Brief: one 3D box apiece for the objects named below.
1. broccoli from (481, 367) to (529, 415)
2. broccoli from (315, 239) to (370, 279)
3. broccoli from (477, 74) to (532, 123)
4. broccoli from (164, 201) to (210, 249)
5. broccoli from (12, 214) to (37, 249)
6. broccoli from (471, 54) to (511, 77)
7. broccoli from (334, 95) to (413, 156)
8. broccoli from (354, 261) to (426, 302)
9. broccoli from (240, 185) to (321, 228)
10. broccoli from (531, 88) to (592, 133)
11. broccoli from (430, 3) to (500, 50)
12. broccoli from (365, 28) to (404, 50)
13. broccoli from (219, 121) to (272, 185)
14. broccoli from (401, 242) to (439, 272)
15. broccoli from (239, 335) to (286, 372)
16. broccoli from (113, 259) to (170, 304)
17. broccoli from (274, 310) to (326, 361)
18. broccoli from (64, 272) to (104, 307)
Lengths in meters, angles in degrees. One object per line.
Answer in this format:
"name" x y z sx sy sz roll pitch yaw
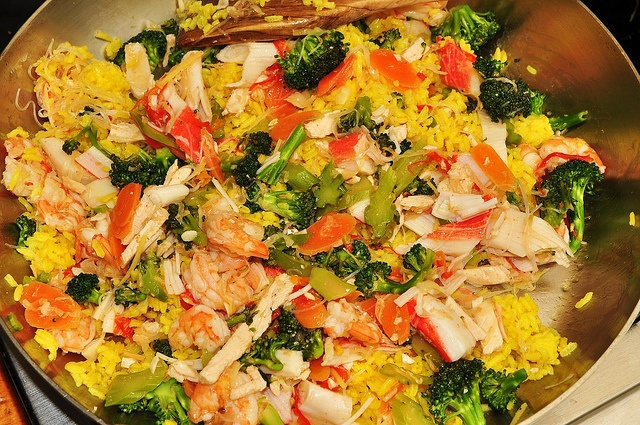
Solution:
"broccoli" 1.320 1.287 4.077 0.358 0.121 0.275 -25 99 -21
"broccoli" 0.175 0.357 4.100 0.328 0.117 0.283 4 91 -10
"broccoli" 1.443 -0.892 4.276 0.345 0.180 0.365 -6 110 2
"broccoli" -0.942 0.105 4.232 0.257 0.293 0.331 -35 60 -27
"broccoli" -2.191 0.127 4.178 0.106 0.194 0.176 6 77 -26
"broccoli" 1.359 -1.163 4.456 0.217 0.092 0.179 -16 92 3
"broccoli" 0.423 -0.593 4.326 0.567 0.189 0.355 41 87 4
"broccoli" 0.506 0.509 4.147 0.402 0.181 0.271 1 45 5
"broccoli" -0.295 -0.058 4.329 0.560 0.319 0.295 8 73 9
"broccoli" 1.918 -0.767 4.524 0.438 0.114 0.275 5 78 3
"broccoli" 1.210 -1.501 4.514 0.349 0.178 0.398 5 35 14
"broccoli" 0.539 -1.394 4.498 0.205 0.066 0.202 -51 45 -1
"broccoli" -0.541 -0.442 4.372 0.313 0.191 0.457 4 85 7
"broccoli" 0.760 0.322 4.151 0.201 0.110 0.199 -7 67 2
"broccoli" -0.398 1.000 4.049 0.320 0.099 0.250 7 85 1
"broccoli" -1.325 0.547 4.143 0.368 0.153 0.334 -15 85 0
"broccoli" -0.136 0.911 4.082 0.399 0.101 0.249 29 86 3
"broccoli" -1.746 0.570 4.151 0.243 0.123 0.224 -3 85 1
